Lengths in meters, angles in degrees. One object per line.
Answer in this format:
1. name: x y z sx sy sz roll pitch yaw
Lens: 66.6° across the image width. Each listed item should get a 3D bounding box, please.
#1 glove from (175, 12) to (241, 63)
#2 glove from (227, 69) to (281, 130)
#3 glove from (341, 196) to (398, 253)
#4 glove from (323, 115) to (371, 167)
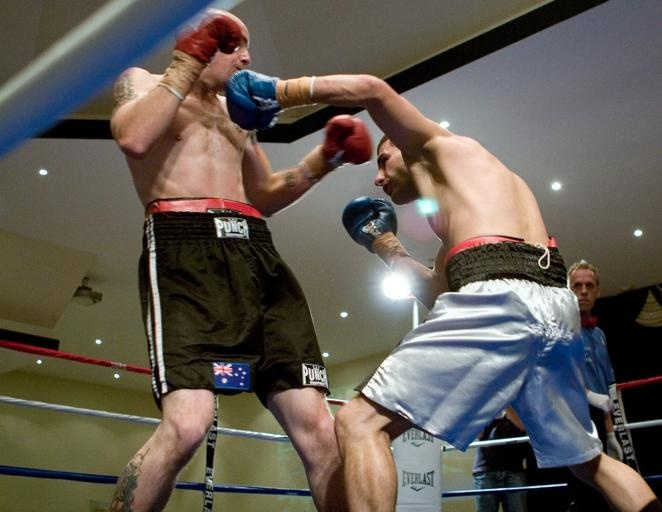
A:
1. glove: -0.431 -0.801 1.874 0.217 0.135 0.294 -15 7 1
2. glove: -0.272 -0.544 1.765 0.160 0.222 0.099 6 7 -5
3. glove: 0.192 -0.171 2.707 0.156 0.333 0.414 23 -1 -1
4. glove: 0.062 -0.484 2.150 0.172 0.235 0.109 4 8 31
